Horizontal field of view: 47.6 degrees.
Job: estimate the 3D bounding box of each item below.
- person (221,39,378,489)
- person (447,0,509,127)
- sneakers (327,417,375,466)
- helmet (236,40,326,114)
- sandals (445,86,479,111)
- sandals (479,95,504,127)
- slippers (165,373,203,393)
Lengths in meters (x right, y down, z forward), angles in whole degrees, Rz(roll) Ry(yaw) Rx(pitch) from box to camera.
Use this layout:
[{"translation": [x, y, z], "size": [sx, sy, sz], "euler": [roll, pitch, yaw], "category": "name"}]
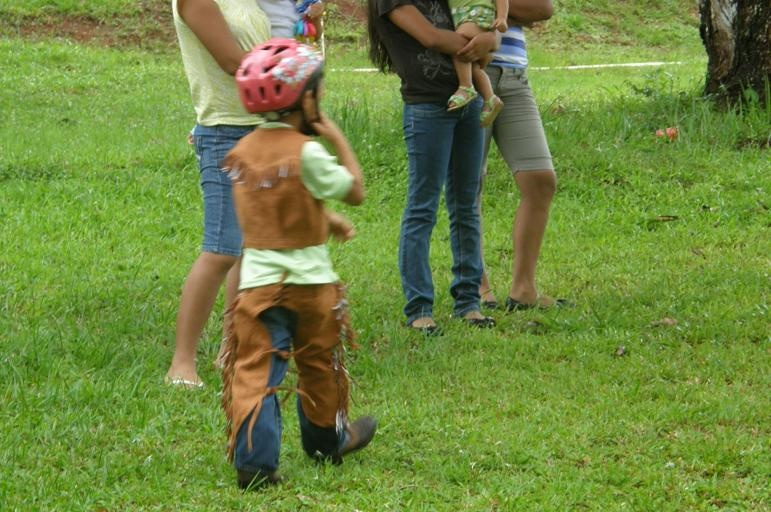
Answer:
[{"translation": [-0.546, 0.079, 5.324], "size": [0.817, 2.625, 0.592], "euler": [0, 15, -11], "category": "person"}, {"translation": [0.734, -1.505, 6.788], "size": [0.544, 0.964, 0.472], "euler": [0, 15, -12], "category": "person"}, {"translation": [-0.171, 1.162, 5.645], "size": [0.149, 0.167, 0.404], "euler": [25, 50, 31], "category": "sneakers"}, {"translation": [-0.614, -1.129, 5.384], "size": [0.455, 0.347, 0.603], "euler": [1, 32, 33], "category": "helmet"}, {"translation": [0.594, -1.202, 6.680], "size": [0.262, 0.106, 0.123], "euler": [-35, 16, -34], "category": "sandals"}, {"translation": [0.845, -1.134, 6.862], "size": [0.102, 0.292, 0.125], "euler": [23, 31, -3], "category": "sandals"}, {"translation": [-1.405, 0.892, 6.153], "size": [0.274, 0.070, 0.106], "euler": [8, 22, 17], "category": "slippers"}]
